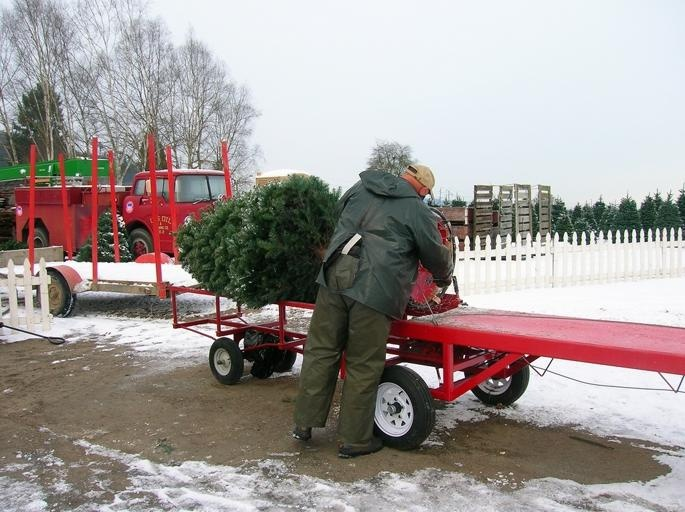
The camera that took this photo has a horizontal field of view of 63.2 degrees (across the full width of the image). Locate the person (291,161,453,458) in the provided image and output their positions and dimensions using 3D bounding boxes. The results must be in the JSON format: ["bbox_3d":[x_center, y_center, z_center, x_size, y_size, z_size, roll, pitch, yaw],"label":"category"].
[{"bbox_3d":[0.209,0.487,5.030,1.324,2.488,0.571,-4,8,-19],"label":"person"}]

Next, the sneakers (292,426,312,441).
[{"bbox_3d":[-0.376,1.652,5.123,0.107,0.091,0.201,5,6,13],"label":"sneakers"}]

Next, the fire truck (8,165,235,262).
[{"bbox_3d":[-5.932,-1.304,15.173,6.082,2.504,2.955,0,3,23],"label":"fire truck"}]
